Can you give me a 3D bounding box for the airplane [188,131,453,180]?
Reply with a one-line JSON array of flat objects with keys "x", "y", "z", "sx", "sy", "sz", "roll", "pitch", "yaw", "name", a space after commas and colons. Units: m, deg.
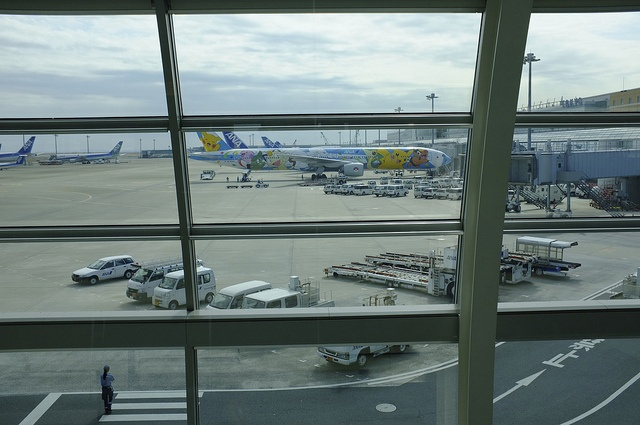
[{"x": -0.273, "y": -1.458, "z": 14.871, "sx": 5.764, "sy": 1.140, "sz": 3.411, "roll": -3, "pitch": 7, "yaw": -16, "name": "airplane"}]
